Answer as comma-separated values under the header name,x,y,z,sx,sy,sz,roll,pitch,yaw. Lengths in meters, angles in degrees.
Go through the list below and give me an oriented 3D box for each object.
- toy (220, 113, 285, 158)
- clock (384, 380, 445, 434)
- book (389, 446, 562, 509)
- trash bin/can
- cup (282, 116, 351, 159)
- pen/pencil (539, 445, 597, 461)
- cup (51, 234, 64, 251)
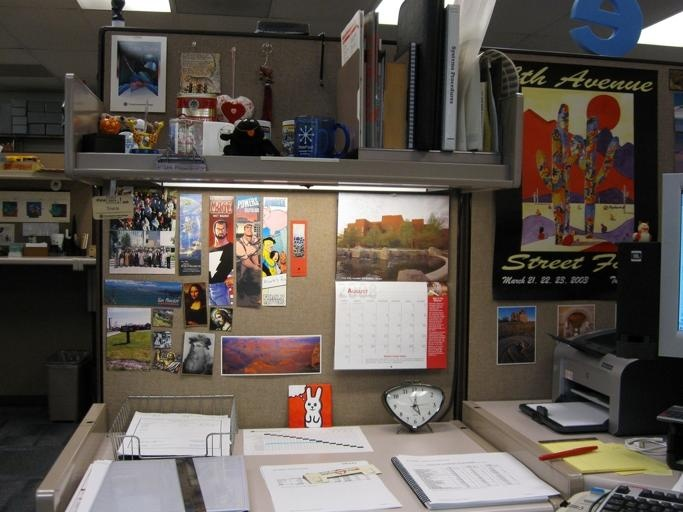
name,x,y,z,sx,sy,sz,roll,pitch,yaw
toy,-0.270,-0.355,2.022,0.180,0.128,0.236,-3,27,-10
clock,0.240,0.514,2.285,0.209,0.176,0.045,2,-8,-21
book,0.386,0.662,2.001,0.414,0.051,0.292,0,14,-14
trash bin/can,-1.692,0.881,4.334,0.257,0.359,0.416,-2,-11,11
cup,-0.076,-0.362,2.071,0.186,0.125,0.116,2,6,14
pen/pencil,0.665,0.582,1.986,0.162,0.020,0.019,-4,-30,-18
cup,-1.892,-0.091,4.501,0.077,0.114,0.058,0,13,-11
